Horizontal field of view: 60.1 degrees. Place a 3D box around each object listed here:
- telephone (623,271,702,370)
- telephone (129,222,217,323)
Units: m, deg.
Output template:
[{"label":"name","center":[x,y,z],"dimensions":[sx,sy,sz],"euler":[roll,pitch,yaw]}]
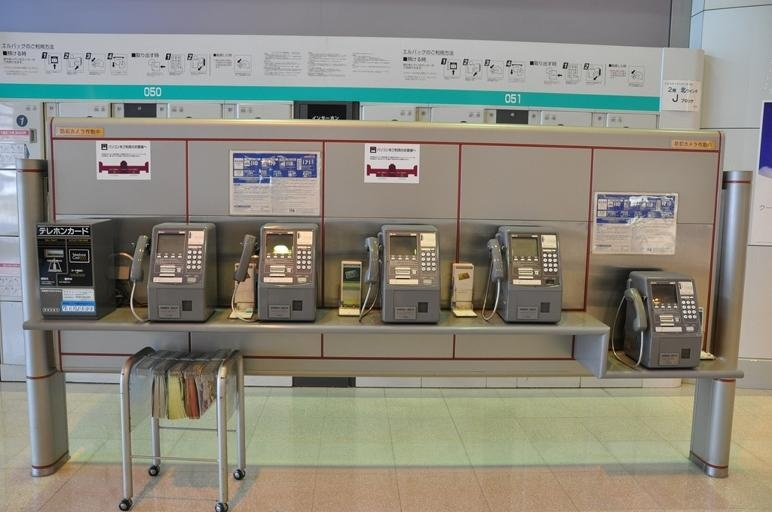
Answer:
[{"label":"telephone","center":[2.331,0.544,5.624],"dimensions":[0.596,0.780,0.283],"euler":[0,5,17]},{"label":"telephone","center":[-1.768,0.135,5.599],"dimensions":[0.697,0.816,0.408],"euler":[-2,5,-13]}]
